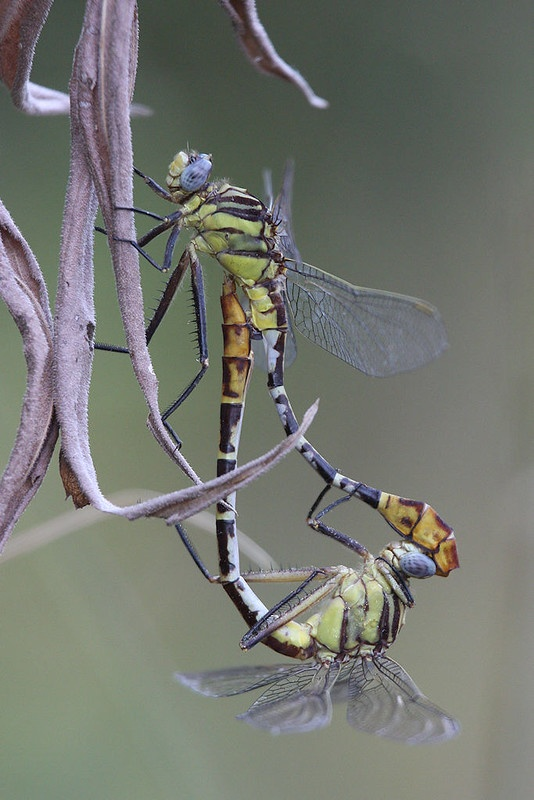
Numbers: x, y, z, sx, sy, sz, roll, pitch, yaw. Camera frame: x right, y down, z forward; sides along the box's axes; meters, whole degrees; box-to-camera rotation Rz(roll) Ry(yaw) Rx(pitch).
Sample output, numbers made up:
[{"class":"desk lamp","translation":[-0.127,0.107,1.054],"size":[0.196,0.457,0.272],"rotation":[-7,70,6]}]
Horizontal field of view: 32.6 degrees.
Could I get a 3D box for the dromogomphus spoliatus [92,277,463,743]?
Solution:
[{"class":"dromogomphus spoliatus","translation":[-0.066,0.143,1.169],"size":[0.449,0.425,0.594],"rotation":[3,-98,-14]}]
